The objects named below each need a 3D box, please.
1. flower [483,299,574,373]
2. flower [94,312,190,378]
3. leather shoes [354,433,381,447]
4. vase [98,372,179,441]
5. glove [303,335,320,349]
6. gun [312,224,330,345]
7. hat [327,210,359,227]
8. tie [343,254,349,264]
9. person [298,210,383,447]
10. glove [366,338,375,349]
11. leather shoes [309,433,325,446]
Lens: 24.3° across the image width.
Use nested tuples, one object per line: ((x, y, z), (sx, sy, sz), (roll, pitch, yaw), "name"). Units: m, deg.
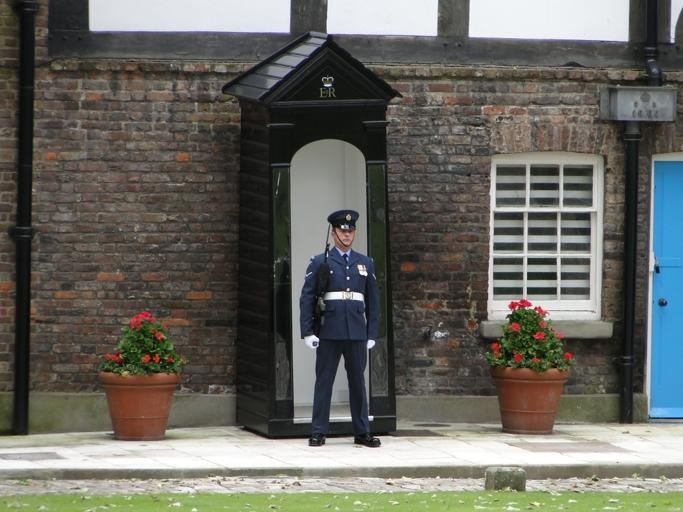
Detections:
((2.099, 0.858, 17.698), (0.985, 0.820, 0.828), (3, -2, 18), "flower")
((-2.108, 0.930, 16.918), (0.860, 0.584, 0.723), (2, -4, -24), "flower")
((0.232, 1.958, 16.656), (0.323, 0.111, 0.104), (-4, -5, 30), "leather shoes")
((-2.196, 1.613, 17.026), (0.831, 0.552, 0.767), (2, -2, -19), "vase")
((-0.345, 0.897, 16.682), (0.158, 0.134, 0.171), (0, -4, -8), "glove")
((-0.259, 0.287, 16.704), (0.124, 1.043, 0.336), (9, -14, -6), "gun")
((-0.017, -0.408, 16.724), (0.308, 0.192, 0.239), (0, -4, -1), "hat")
((0.020, 0.023, 16.755), (0.030, 0.083, 0.065), (-1, 2, -19), "tie")
((-0.065, 0.759, 16.853), (0.999, 2.391, 0.604), (-1, 4, -28), "person")
((0.269, 0.924, 16.821), (0.098, 0.111, 0.032), (-1, 15, 1), "glove")
((-0.290, 1.929, 16.644), (0.179, 0.135, 0.259), (0, -4, -3), "leather shoes")
